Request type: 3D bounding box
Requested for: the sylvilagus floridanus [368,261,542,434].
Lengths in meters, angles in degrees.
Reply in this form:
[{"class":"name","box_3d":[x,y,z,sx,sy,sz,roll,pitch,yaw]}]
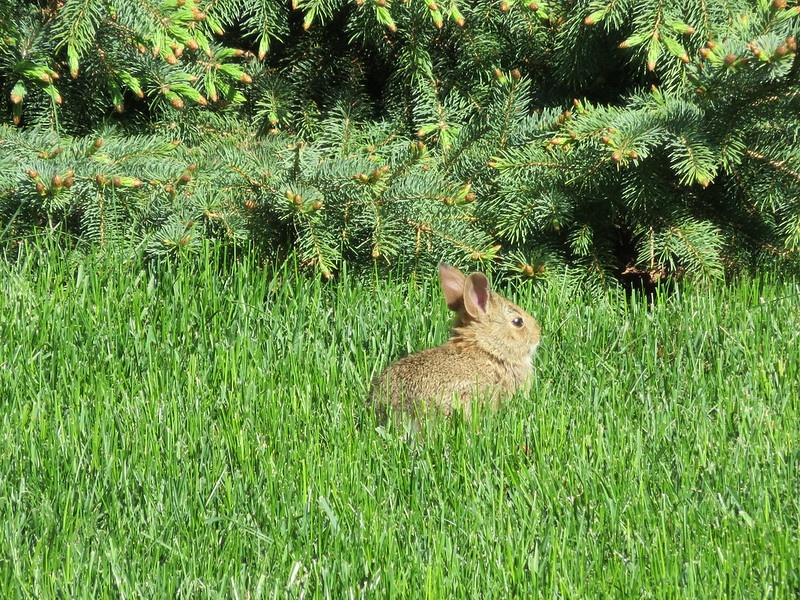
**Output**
[{"class":"sylvilagus floridanus","box_3d":[0.236,0.305,3.887,0.739,0.523,0.821,-11,90,-15]}]
